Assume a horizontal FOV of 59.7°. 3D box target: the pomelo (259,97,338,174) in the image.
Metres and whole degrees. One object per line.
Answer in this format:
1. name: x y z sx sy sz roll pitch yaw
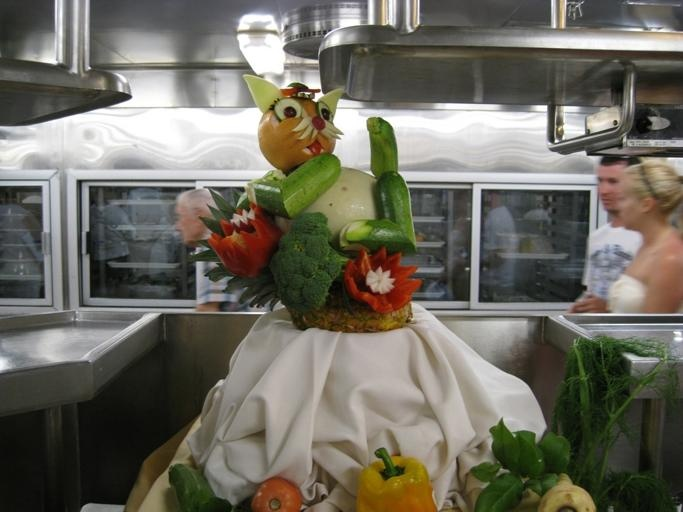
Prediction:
1. pomelo: -0.096 -0.281 1.343 0.175 0.189 0.187 -13 16 -38

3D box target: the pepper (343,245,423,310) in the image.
1. pepper: 0.078 0.061 1.257 0.145 0.064 0.151 7 32 -33

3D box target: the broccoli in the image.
1. broccoli: -0.105 0.028 1.169 0.073 0.185 0.165 5 -36 -46

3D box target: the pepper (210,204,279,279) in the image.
1. pepper: -0.230 -0.034 1.287 0.183 0.157 0.123 2 4 39
